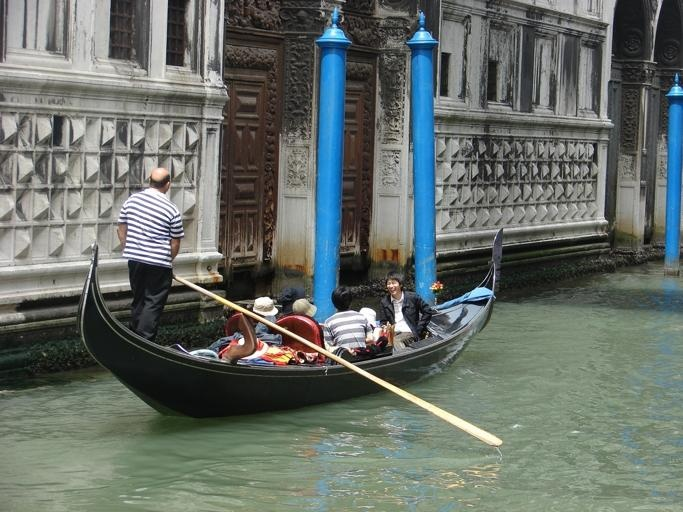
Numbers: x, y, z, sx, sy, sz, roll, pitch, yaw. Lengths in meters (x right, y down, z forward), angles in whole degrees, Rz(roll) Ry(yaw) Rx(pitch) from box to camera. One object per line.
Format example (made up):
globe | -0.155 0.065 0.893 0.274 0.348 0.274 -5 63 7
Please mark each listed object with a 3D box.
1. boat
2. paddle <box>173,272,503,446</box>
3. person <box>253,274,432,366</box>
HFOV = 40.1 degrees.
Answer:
boat | -0.109 0.717 8.939 4.425 1.353 1.025 -7 9 -32
paddle | 0.174 0.867 8.537 3.415 0.159 0.157 -22 -14 8
person | 0.277 0.628 9.359 0.545 0.826 1.357 -5 -1 31
